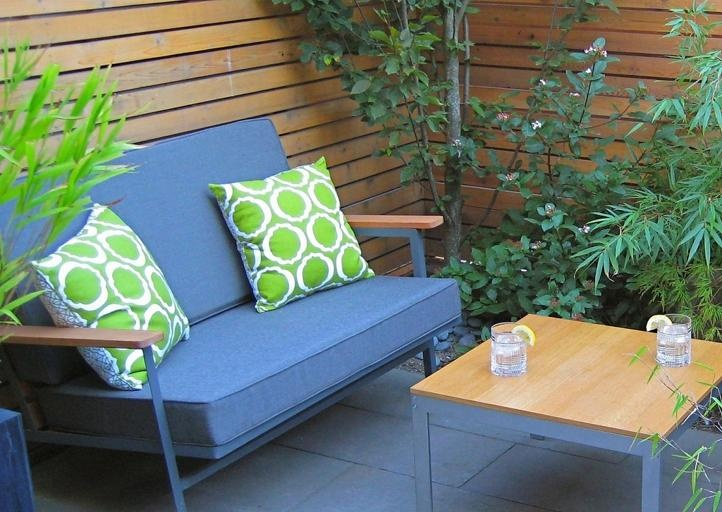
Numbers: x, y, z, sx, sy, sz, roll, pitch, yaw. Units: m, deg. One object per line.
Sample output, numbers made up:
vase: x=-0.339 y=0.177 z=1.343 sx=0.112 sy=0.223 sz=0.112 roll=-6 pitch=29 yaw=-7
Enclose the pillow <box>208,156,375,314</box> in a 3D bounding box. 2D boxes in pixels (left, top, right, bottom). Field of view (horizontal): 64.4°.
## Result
pillow: x=-0.165 y=-0.102 z=2.541 sx=0.222 sy=0.605 sz=0.735 roll=-25 pitch=5 yaw=-40
